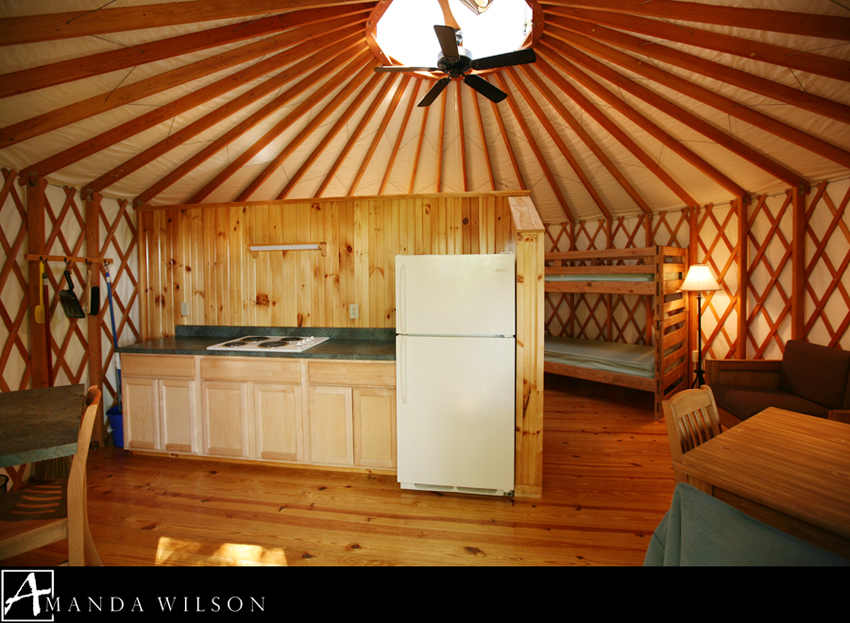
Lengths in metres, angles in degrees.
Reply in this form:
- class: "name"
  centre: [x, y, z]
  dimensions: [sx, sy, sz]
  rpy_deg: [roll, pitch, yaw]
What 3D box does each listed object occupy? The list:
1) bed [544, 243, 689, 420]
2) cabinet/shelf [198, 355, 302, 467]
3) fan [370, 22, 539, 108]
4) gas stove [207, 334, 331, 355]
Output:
- class: "bed"
  centre: [2.109, 0.231, 6.689]
  dimensions: [1.234, 1.593, 2.206]
  rpy_deg: [-1, 1, -39]
- class: "cabinet/shelf"
  centre: [-1.417, 0.791, 5.168]
  dimensions: [1.165, 0.932, 0.576]
  rpy_deg: [0, -1, 7]
- class: "fan"
  centre: [0.221, -2.066, 4.992]
  dimensions: [1.135, 0.360, 1.090]
  rpy_deg: [2, -9, 7]
- class: "gas stove"
  centre: [-1.334, 0.282, 5.429]
  dimensions: [0.896, 0.156, 0.595]
  rpy_deg: [1, 0, 9]
